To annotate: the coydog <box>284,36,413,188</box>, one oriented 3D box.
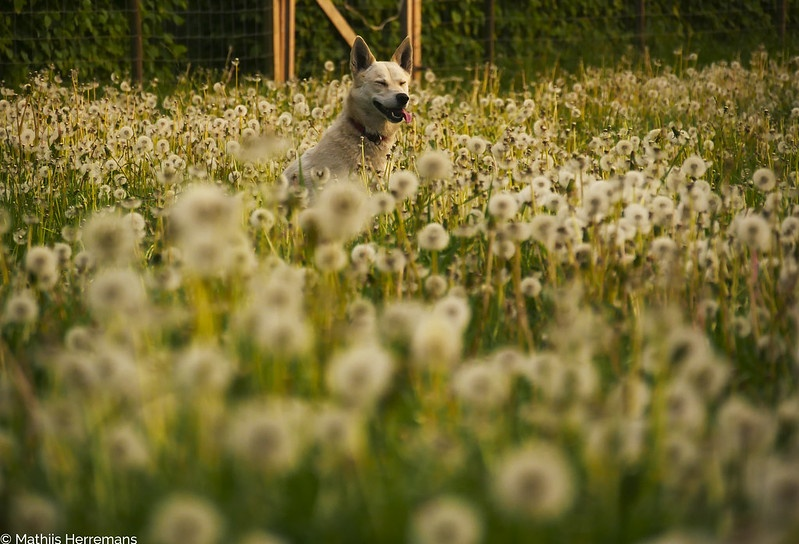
[{"bbox_3d":[-0.296,-0.940,5.719,0.324,1.205,1.116,-2,15,-28],"label":"coydog"}]
